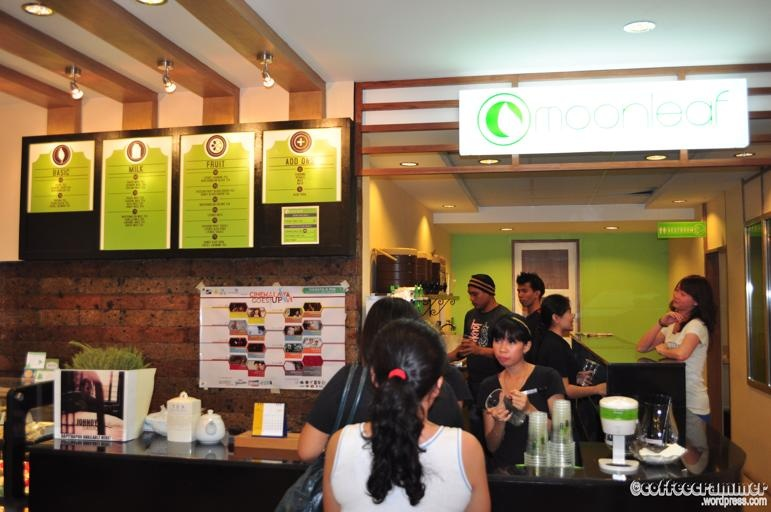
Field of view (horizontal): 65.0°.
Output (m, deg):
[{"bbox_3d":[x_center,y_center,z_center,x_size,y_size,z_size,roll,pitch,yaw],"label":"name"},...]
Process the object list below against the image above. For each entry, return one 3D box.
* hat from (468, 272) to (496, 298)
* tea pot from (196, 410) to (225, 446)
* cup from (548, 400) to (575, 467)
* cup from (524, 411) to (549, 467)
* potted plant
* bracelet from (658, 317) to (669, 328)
[{"bbox_3d":[0.889,0.251,5.487,0.243,0.148,0.214,2,-2,-6],"label":"hat"},{"bbox_3d":[-1.109,1.098,3.928,0.219,0.195,0.202,0,-1,0],"label":"tea pot"},{"bbox_3d":[0.997,0.995,3.412,0.150,0.371,0.239,0,-7,16],"label":"cup"},{"bbox_3d":[0.855,1.027,3.390,0.129,0.304,0.118,2,-7,0],"label":"cup"},{"bbox_3d":[-1.793,0.910,4.160,0.637,0.702,0.566,-1,-5,10],"label":"potted plant"},{"bbox_3d":[2.194,0.526,4.771,0.093,0.030,0.085,0,29,14],"label":"bracelet"}]
